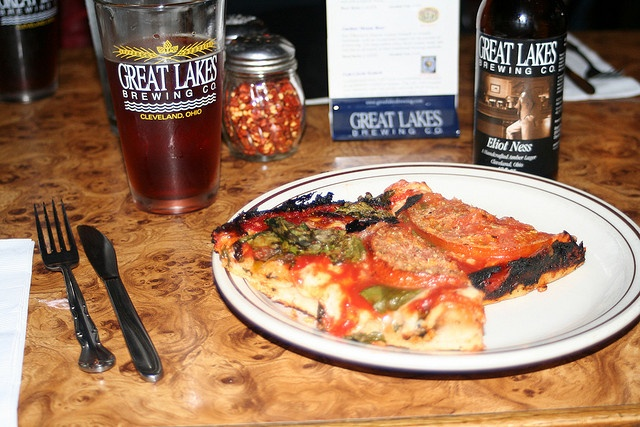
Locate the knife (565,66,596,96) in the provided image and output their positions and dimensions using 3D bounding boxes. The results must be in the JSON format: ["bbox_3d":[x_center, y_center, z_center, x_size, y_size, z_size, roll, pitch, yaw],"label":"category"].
[{"bbox_3d":[0.576,-0.292,1.177,0.035,0.014,0.131,-4,35,-4],"label":"knife"}]

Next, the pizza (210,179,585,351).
[{"bbox_3d":[0.075,0.056,0.645,0.259,0.041,0.249,15,32,27],"label":"pizza"}]
